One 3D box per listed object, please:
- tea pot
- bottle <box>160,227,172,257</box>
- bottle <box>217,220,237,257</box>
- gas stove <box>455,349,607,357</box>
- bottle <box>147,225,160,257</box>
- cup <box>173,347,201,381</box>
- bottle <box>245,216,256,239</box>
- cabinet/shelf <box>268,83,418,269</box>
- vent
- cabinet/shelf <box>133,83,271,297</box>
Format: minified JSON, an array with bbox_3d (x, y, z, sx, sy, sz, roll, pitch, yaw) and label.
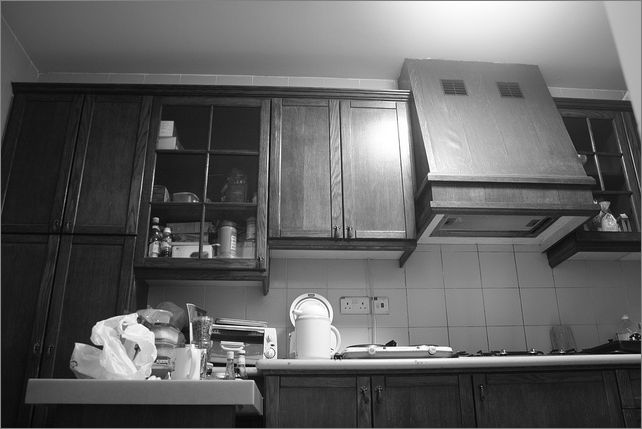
[{"bbox_3d":[-0.031,0.790,3.020,0.360,0.357,0.223,10,-27,-20],"label":"tea pot"},{"bbox_3d":[-1.051,0.188,3.129,0.079,0.202,0.028,4,-17,-14],"label":"bottle"},{"bbox_3d":[-0.653,0.184,3.204,0.157,0.261,0.154,0,-12,0],"label":"bottle"},{"bbox_3d":[1.374,0.923,3.055,0.889,0.048,0.687,-8,-17,27],"label":"gas stove"},{"bbox_3d":[-1.118,0.183,3.099,0.077,0.227,0.048,6,-18,-20],"label":"bottle"},{"bbox_3d":[-0.622,0.709,2.197,0.150,0.153,0.176,9,-18,-28],"label":"cup"},{"bbox_3d":[-0.482,0.098,3.161,0.074,0.161,0.015,-6,-18,20],"label":"bottle"},{"bbox_3d":[0.132,-0.253,3.294,1.273,1.434,0.603,0,-23,-3],"label":"cabinet/shelf"},{"bbox_3d":[1.246,0.116,3.305,1.110,0.120,0.568,1,-15,-3],"label":"vent"},{"bbox_3d":[-0.852,-0.177,3.349,0.874,1.308,0.384,3,6,-22],"label":"cabinet/shelf"}]
